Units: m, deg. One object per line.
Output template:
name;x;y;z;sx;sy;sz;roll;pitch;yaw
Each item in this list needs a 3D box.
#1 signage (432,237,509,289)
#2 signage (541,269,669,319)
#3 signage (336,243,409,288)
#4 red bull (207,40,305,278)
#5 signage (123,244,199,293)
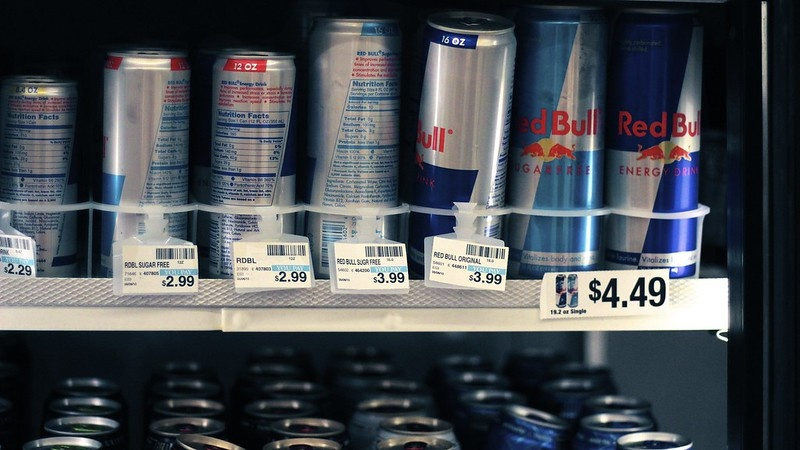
signage;0.170;0.082;2.127;0.225;0.108;0.105;4;8;12
signage;0.439;0.159;2.290;0.316;0.108;0.384;0;-2;-11
signage;-0.033;0.092;2.114;0.204;0.106;0.102;-2;-5;32
red bull;-0.347;-0.132;2.146;0.247;0.500;0.148;-1;-1;12
signage;-0.520;0.092;2.060;0.219;0.110;0.020;-3;-1;25
